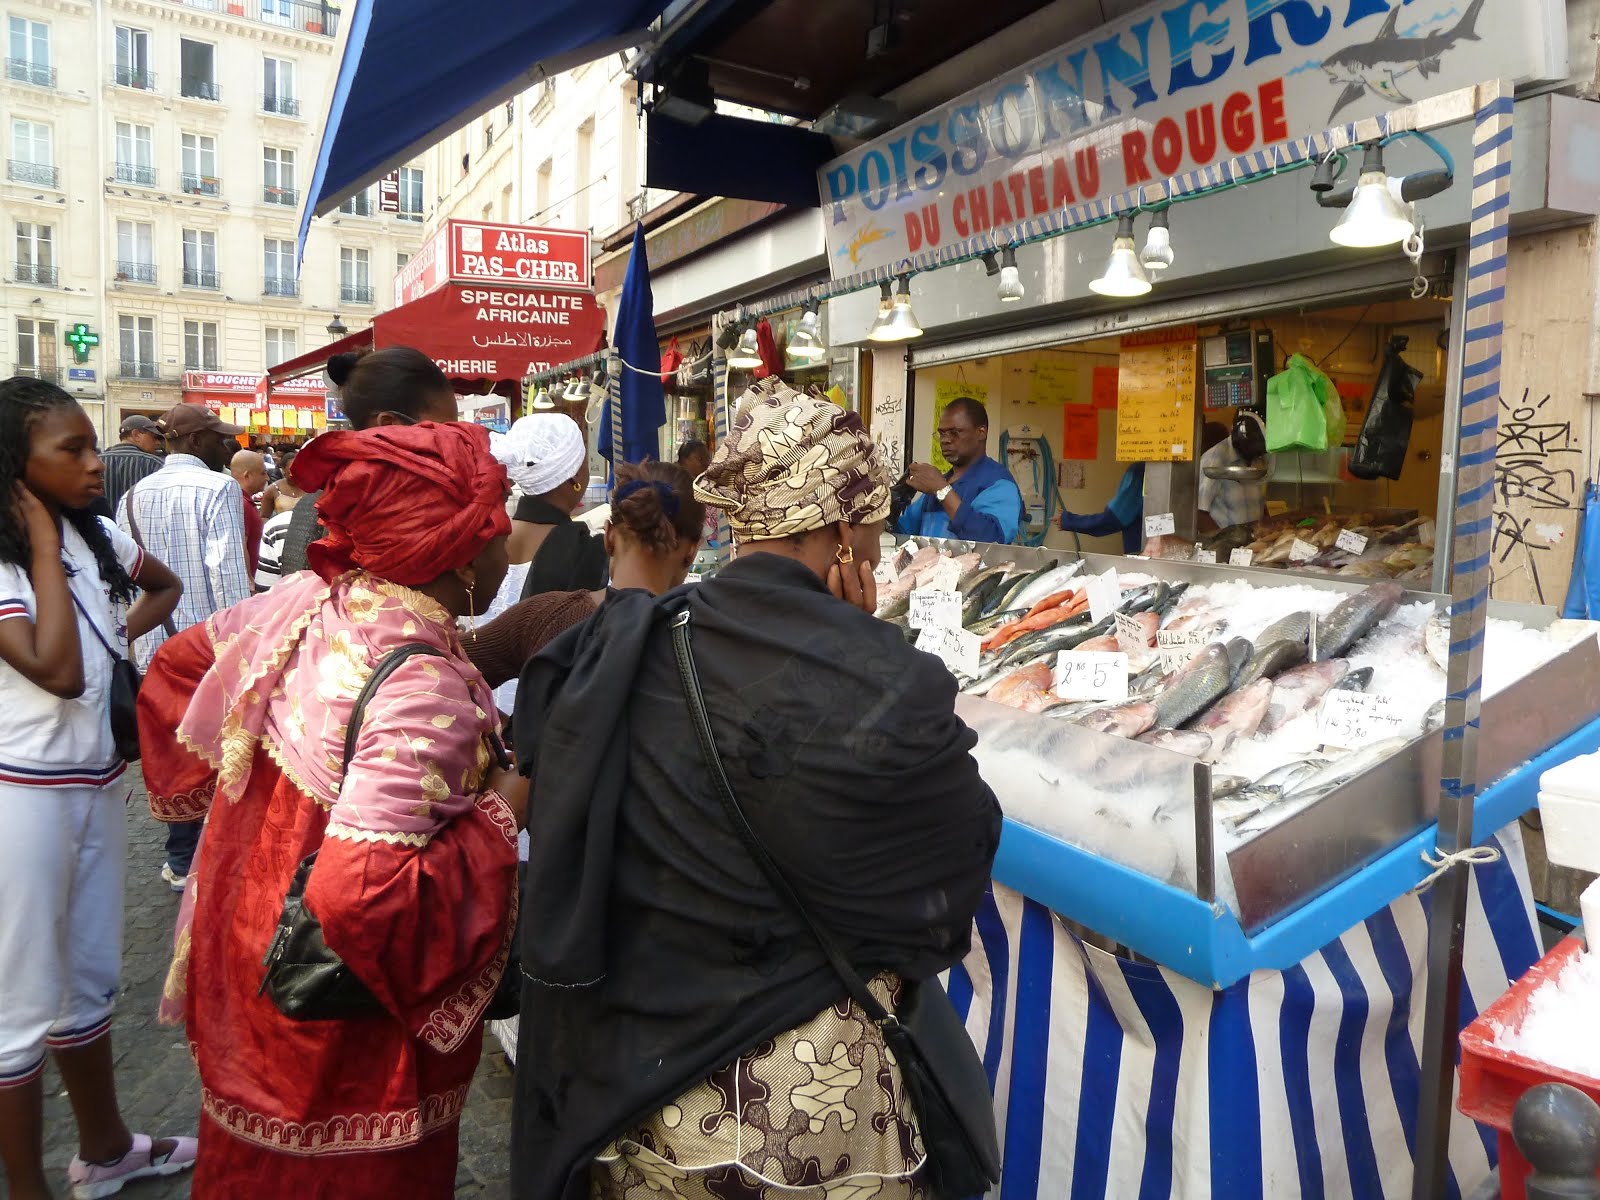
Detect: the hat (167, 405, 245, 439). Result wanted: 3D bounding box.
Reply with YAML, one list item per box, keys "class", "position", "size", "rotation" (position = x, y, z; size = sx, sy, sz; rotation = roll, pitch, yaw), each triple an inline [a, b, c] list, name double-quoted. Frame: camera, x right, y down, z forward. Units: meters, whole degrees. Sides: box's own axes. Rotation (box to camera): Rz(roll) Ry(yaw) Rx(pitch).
- class: "hat"
  position: [-3.074, -0.931, 6.870]
  size: [0.221, 0.134, 0.347]
  rotation: [12, 10, 34]

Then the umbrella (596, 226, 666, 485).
- class: "umbrella"
  position: [-0.788, -1.144, 6.324]
  size: [0.238, 1.188, 0.342]
  rotation: [0, 10, -19]

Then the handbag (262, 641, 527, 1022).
- class: "handbag"
  position: [-0.895, 0.524, 2.861]
  size: [0.515, 0.838, 0.229]
  rotation: [-5, 9, -41]

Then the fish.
- class: "fish"
  position: [0.963, 0.229, 4.175]
  size: [1.333, 0.615, 2.035]
  rotation: [-3, 8, -30]
